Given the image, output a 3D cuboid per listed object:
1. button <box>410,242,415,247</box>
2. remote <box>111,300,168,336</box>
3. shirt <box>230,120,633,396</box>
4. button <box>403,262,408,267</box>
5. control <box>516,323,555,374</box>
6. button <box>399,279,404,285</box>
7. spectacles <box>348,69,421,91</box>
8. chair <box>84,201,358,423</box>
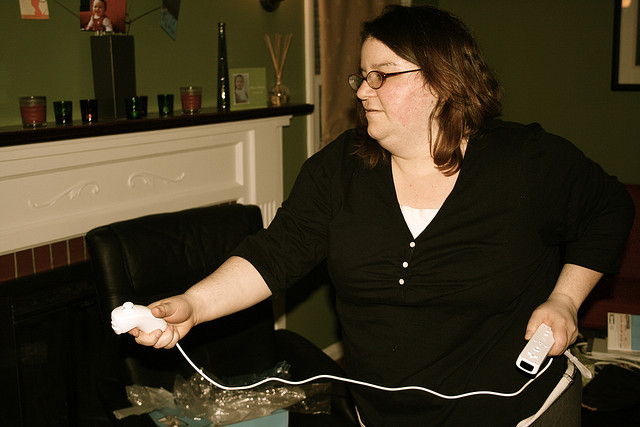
[{"bbox_3d":[0.302,0.100,1.811,0.014,0.015,0.003,1,-4,5],"label":"button"},{"bbox_3d":[-0.527,0.294,1.627,0.127,0.078,0.086,18,-1,-20],"label":"remote"},{"bbox_3d":[0.467,0.178,2.131,1.302,1.128,0.869,2,3,20],"label":"shirt"},{"bbox_3d":[0.279,0.166,1.815,0.014,0.014,0.005,1,10,13],"label":"button"},{"bbox_3d":[0.662,0.404,1.686,0.069,0.042,0.175,26,48,33],"label":"control"},{"bbox_3d":[0.267,0.221,1.813,0.014,0.016,0.004,1,10,12],"label":"button"},{"bbox_3d":[0.169,-0.442,1.862,0.111,0.035,0.110,-7,5,-36],"label":"spectacles"},{"bbox_3d":[-0.594,0.358,2.715,0.893,1.277,1.035,-14,13,-30],"label":"chair"}]
